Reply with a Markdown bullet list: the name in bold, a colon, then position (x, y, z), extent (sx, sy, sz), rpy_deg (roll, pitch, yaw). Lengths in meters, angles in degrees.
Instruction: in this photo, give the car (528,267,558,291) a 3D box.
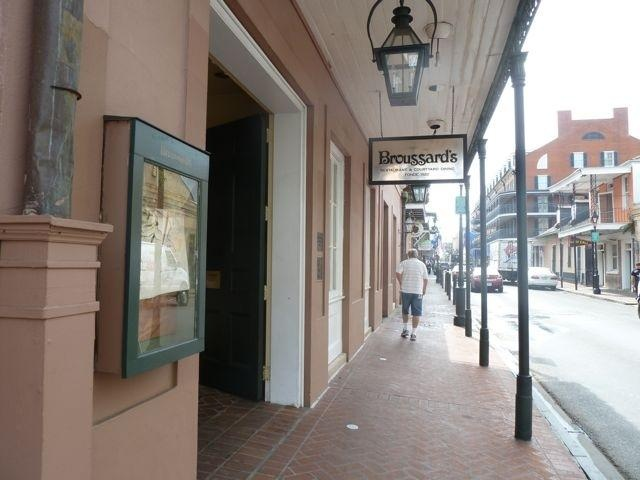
- **car**: position (12.338, 2.187, 27.402), extent (1.272, 1.167, 1.505), rpy_deg (2, -1, 19)
